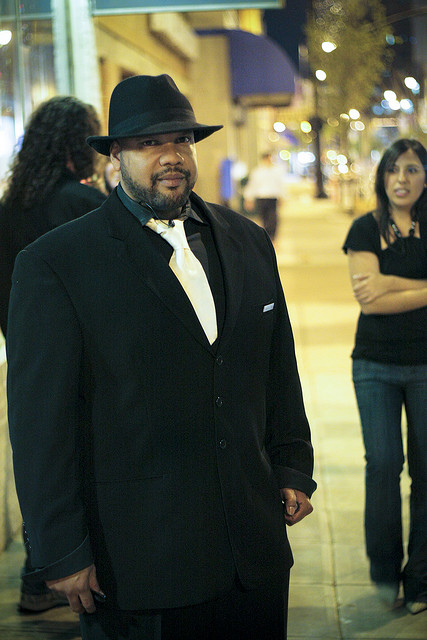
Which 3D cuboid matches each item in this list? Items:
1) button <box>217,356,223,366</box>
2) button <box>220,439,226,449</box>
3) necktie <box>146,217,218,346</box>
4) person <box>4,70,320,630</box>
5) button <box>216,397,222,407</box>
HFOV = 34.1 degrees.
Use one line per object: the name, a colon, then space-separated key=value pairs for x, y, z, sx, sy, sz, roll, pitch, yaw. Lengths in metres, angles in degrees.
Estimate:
button: x=0.016 y=0.084 z=1.469 sx=0.004 sy=0.021 sz=0.017 roll=-1 pitch=12 yaw=34
button: x=0.023 y=0.258 z=1.462 sx=0.019 sy=0.020 sz=0.003 roll=-15 pitch=12 yaw=-38
necktie: x=-0.046 y=-0.114 z=1.515 sx=0.132 sy=0.370 sz=0.029 roll=-6 pitch=-37 yaw=-18
person: x=-0.096 y=0.114 z=1.536 sx=0.734 sy=1.279 sz=0.334 roll=-14 pitch=12 yaw=-35
button: x=0.013 y=0.170 z=1.464 sx=0.014 sy=0.020 sz=0.005 roll=-16 pitch=13 yaw=-41
